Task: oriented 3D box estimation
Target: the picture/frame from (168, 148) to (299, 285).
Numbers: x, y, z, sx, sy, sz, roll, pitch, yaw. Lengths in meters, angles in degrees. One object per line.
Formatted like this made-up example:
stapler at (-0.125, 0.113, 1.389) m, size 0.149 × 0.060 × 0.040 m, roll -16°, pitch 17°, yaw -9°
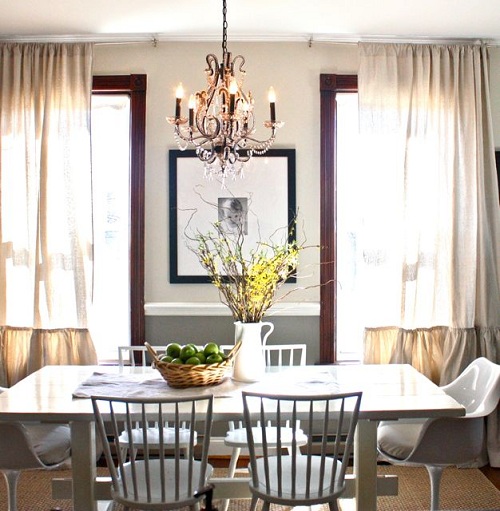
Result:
picture/frame at (-0.111, -0.267, 3.724) m, size 0.670 × 0.880 × 0.026 m, roll 0°, pitch 0°, yaw -1°

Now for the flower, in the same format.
flower at (-0.012, 0.065, 3.216) m, size 0.745 × 0.819 × 0.727 m, roll 2°, pitch 4°, yaw -10°
